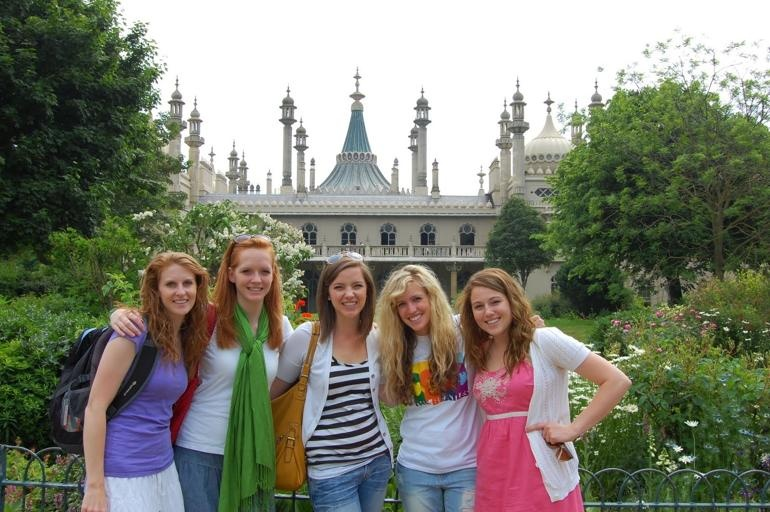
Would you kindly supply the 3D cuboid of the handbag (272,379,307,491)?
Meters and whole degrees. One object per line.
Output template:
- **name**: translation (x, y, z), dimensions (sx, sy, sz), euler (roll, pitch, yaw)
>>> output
- **handbag**: translation (-1.075, 2.075, 9.306), dimensions (0.543, 1.266, 0.935), euler (4, -14, -8)

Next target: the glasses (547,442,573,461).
- **glasses**: translation (1.940, 2.183, 9.097), dimensions (0.309, 0.201, 0.061), euler (1, 3, -15)
